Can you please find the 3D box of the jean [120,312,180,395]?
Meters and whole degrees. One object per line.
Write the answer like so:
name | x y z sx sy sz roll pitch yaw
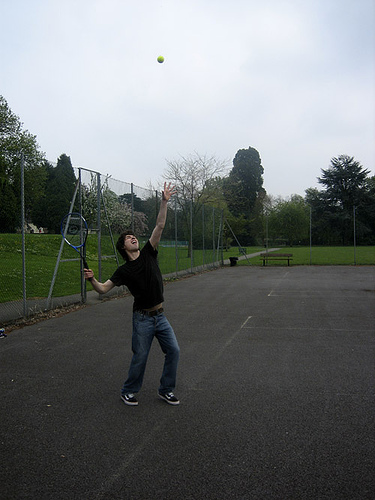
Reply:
jean | -0.374 0.949 3.884 0.483 1.177 0.342 1 20 -3

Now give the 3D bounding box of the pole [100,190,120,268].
pole | -2.514 -0.823 12.317 0.660 2.625 0.117 -11 -1 -26
